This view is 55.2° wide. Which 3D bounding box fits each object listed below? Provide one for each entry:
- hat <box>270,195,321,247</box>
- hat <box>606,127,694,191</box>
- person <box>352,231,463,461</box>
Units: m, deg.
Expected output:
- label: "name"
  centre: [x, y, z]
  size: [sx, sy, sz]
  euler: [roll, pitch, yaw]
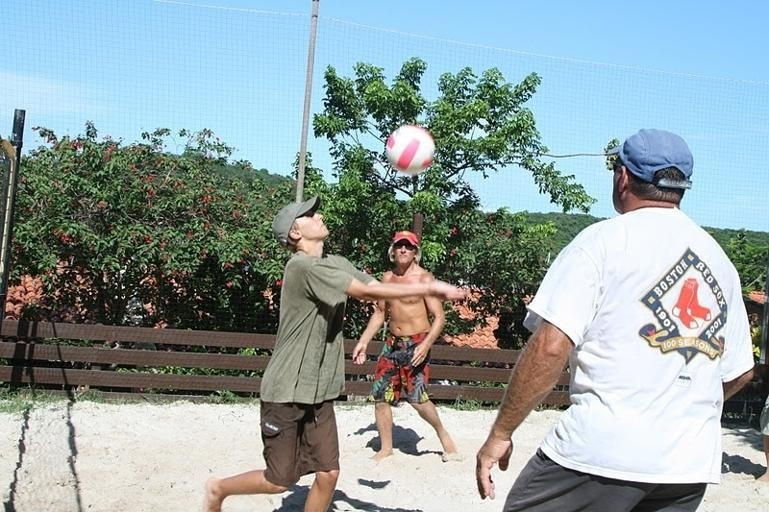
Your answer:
- label: "hat"
  centre: [-0.659, -0.292, 5.298]
  size: [0.204, 0.385, 0.262]
  euler: [41, 15, -21]
- label: "hat"
  centre: [1.485, -0.587, 4.076]
  size: [0.363, 0.244, 0.475]
  euler: [0, 31, -19]
- label: "person"
  centre: [0.245, 0.942, 7.448]
  size: [0.886, 2.308, 1.044]
  euler: [1, -3, 28]
